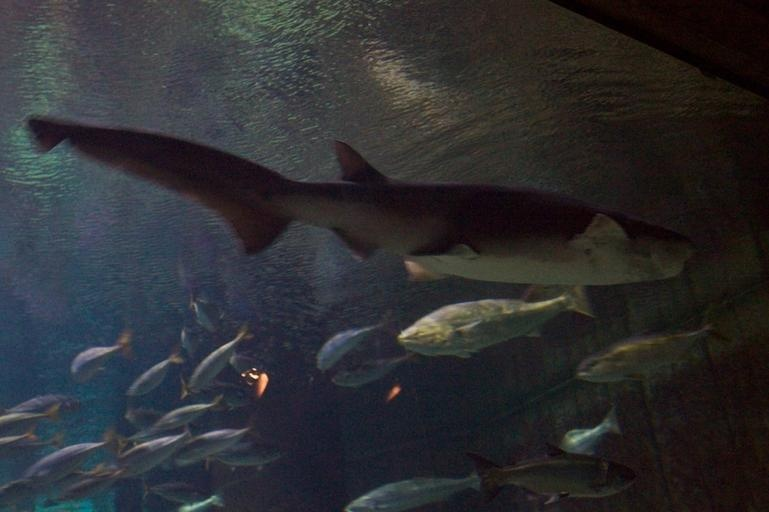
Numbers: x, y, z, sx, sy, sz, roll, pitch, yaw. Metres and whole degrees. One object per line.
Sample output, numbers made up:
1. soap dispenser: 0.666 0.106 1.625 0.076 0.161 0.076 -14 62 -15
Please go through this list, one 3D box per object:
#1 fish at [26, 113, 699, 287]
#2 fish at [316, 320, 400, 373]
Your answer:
1. fish: -0.236 -0.278 4.122 3.933 0.642 0.591 6 99 -3
2. fish: -0.282 0.558 5.062 0.186 0.754 0.088 56 22 -29
